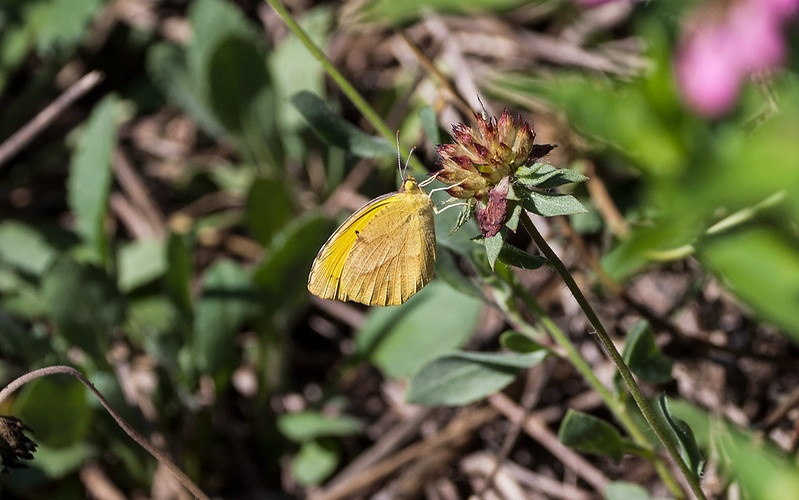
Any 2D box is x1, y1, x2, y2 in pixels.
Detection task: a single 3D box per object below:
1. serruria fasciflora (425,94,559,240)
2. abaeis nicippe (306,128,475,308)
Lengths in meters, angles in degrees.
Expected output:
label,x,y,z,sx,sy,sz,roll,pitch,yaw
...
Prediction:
label,x,y,z,sx,sy,sz,roll,pitch,yaw
serruria fasciflora,0.169,-0.159,1.492,0.178,0.288,0.197,2,16,10
abaeis nicippe,-0.039,0.000,1.690,0.214,0.481,0.239,8,24,18
